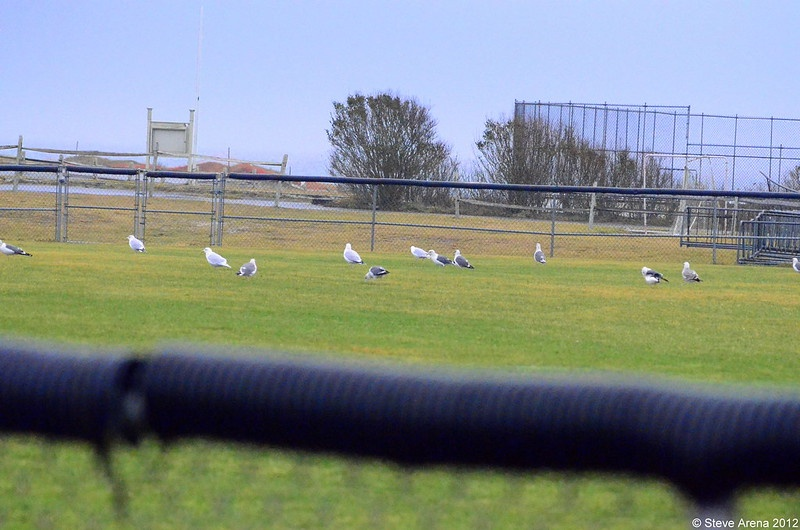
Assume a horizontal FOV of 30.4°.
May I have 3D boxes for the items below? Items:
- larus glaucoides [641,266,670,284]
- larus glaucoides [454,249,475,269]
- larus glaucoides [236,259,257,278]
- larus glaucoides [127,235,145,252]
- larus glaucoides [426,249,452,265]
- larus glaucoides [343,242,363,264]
[{"bbox_3d":[4.038,0.239,23.235,0.340,0.212,0.321,-2,-4,-22],"label":"larus glaucoides"},{"bbox_3d":[1.052,-0.002,24.422,0.180,0.292,0.470,-5,14,-16],"label":"larus glaucoides"},{"bbox_3d":[-2.298,0.124,22.644,0.196,0.252,0.394,3,6,22],"label":"larus glaucoides"},{"bbox_3d":[-4.711,-0.304,26.290,0.124,0.180,0.250,-35,57,-19],"label":"larus glaucoides"},{"bbox_3d":[0.662,-0.045,24.753,0.525,0.291,0.173,5,5,-16],"label":"larus glaucoides"},{"bbox_3d":[-0.783,-0.070,24.867,0.220,0.333,0.510,0,12,-26],"label":"larus glaucoides"}]
